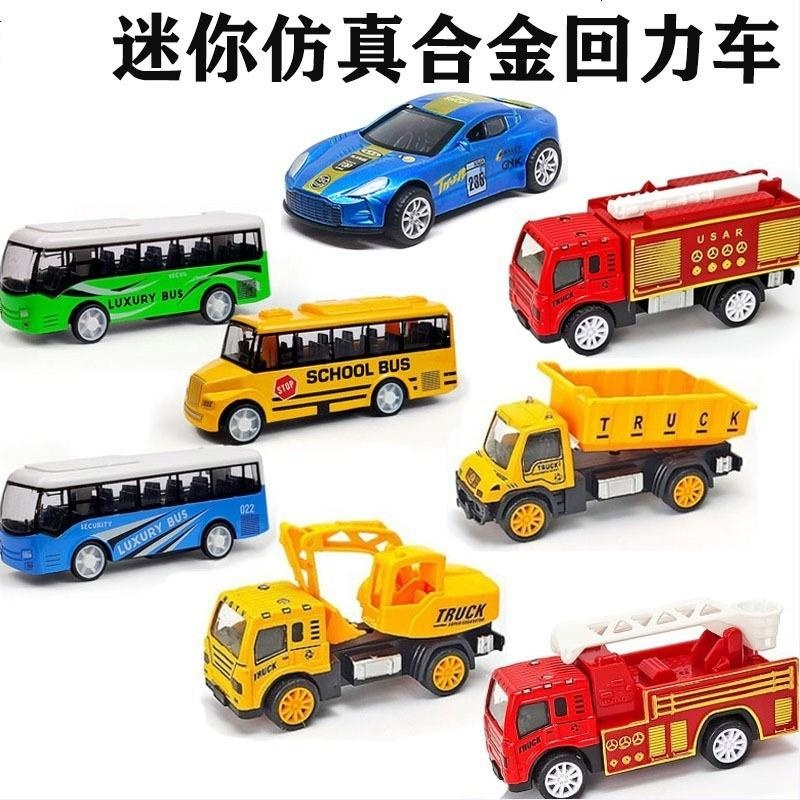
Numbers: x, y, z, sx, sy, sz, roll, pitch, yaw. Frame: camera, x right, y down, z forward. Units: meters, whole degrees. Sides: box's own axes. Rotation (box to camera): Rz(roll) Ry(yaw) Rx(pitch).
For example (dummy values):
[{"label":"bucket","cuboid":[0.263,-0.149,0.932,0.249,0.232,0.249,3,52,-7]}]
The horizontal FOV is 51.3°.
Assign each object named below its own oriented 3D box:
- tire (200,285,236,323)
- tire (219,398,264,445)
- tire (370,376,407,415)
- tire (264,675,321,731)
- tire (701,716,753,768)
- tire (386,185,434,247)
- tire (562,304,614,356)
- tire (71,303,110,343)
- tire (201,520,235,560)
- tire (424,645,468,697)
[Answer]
[{"label":"tire","cuboid":[-3.236,-1.730,14.916,0.515,0.682,0.200,-11,20,-28]},{"label":"tire","cuboid":[-2.412,0.317,12.782,0.472,0.627,0.165,-7,23,-24]},{"label":"tire","cuboid":[-0.191,-0.077,13.660,0.439,0.584,0.167,2,7,-34]},{"label":"tire","cuboid":[-1.134,3.534,9.388,0.496,0.223,0.626,-6,36,-1]},{"label":"tire","cuboid":[3.505,3.699,8.997,0.421,0.566,0.153,-5,18,-25]},{"label":"tire","cuboid":[0.195,-3.083,13.976,0.934,0.947,0.244,-17,23,-27]},{"label":"tire","cuboid":[2.653,-1.019,11.790,0.740,0.956,0.253,-11,30,-27]},{"label":"tire","cuboid":[-5.201,-1.318,14.068,0.442,0.650,0.175,-6,16,-32]},{"label":"tire","cuboid":[-2.712,2.093,12.466,0.444,0.638,0.163,1,3,-32]},{"label":"tire","cuboid":[0.558,3.325,10.241,0.454,0.600,0.155,5,4,-36]}]
